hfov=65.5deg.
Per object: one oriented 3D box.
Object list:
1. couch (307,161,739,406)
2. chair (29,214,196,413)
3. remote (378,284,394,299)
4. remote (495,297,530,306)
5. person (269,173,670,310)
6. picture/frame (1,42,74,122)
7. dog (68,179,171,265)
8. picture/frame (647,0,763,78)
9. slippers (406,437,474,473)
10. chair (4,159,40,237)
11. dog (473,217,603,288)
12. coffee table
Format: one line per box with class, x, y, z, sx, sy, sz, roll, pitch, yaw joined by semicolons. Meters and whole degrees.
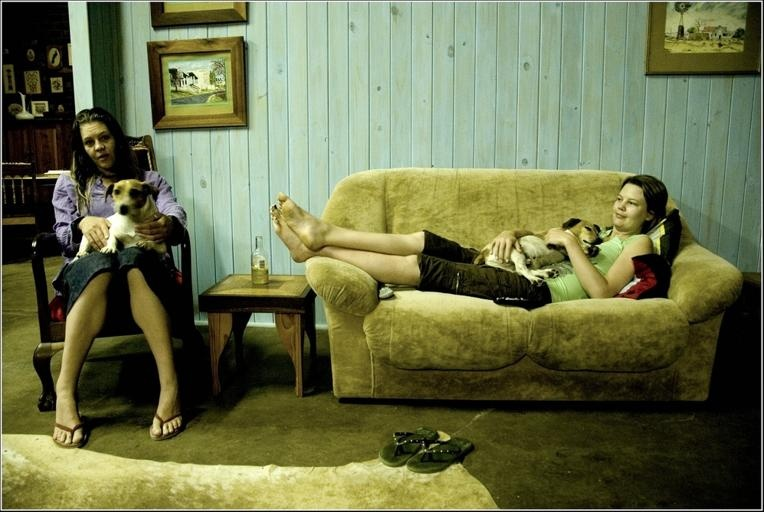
couch;0.826;0.170;3.777;2.543;1.157;1.151;2;24;1
chair;-1.668;0.374;3.855;0.972;1.335;1.102;-1;-1;-9
remote;0.012;0.212;3.434;0.077;0.071;0.184;-1;-2;-2
remote;0.737;0.262;3.372;0.194;0.037;0.037;0;12;5
person;0.529;-0.009;3.826;2.525;0.840;0.928;2;18;1
picture/frame;-4.840;-2.411;8.184;0.971;1.045;0.197;-1;13;0
dog;-1.537;-0.162;3.529;0.453;0.414;0.723;7;-11;-33
picture/frame;2.266;-1.530;4.133;0.702;0.659;0.029;1;1;0
slippers;0.300;1.032;3.059;0.325;0.070;0.137;-9;16;-36
chair;-4.257;-0.651;6.877;0.400;0.837;0.923;-9;14;-30
dog;0.977;-0.045;3.776;0.300;0.374;0.834;23;-12;-41
coffee table;-0.715;0.486;3.891;0.742;0.666;0.716;-1;8;1
